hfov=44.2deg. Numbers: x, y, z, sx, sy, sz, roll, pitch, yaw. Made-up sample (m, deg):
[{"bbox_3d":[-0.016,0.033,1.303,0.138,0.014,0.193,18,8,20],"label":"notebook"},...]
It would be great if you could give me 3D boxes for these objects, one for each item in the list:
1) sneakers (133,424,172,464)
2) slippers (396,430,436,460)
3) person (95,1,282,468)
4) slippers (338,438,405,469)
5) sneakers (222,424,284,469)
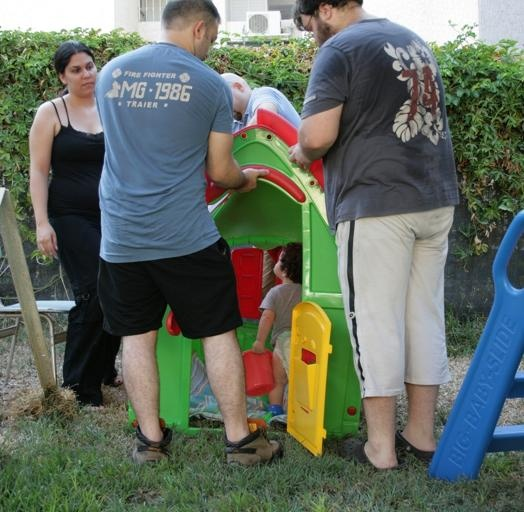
[{"bbox_3d":[-0.550,0.873,2.979,0.114,0.142,0.330,17,-15,-20],"label":"sneakers"},{"bbox_3d":[0.682,0.855,2.931,0.064,0.083,0.189,7,2,-42],"label":"slippers"},{"bbox_3d":[-0.372,-0.008,2.803,0.678,1.786,0.582,-3,13,-13],"label":"person"},{"bbox_3d":[0.441,0.877,2.864,0.103,0.082,0.276,-4,9,-27],"label":"slippers"},{"bbox_3d":[-0.021,0.852,2.910,0.127,0.165,0.339,-4,-4,39],"label":"sneakers"}]
